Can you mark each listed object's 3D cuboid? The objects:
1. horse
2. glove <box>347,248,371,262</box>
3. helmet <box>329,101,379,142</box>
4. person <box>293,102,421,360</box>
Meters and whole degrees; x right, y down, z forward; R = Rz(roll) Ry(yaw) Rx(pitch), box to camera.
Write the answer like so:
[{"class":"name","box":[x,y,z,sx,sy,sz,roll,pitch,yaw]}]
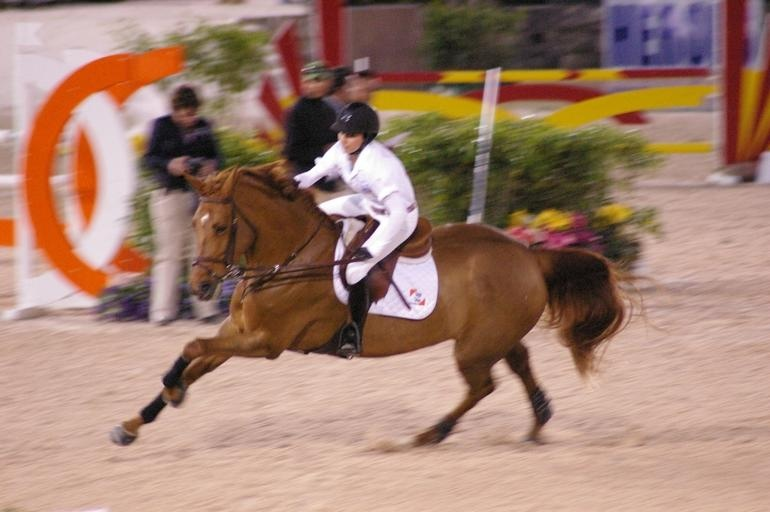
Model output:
[{"class":"horse","box":[-0.189,0.400,9.485,5.297,2.366,1.104,2,22,-36]},{"class":"glove","box":[-0.198,-0.028,8.701,0.150,0.121,0.043,8,51,-6]},{"class":"helmet","box":[-0.237,-1.091,8.651,0.405,0.279,0.264,-15,41,-28]},{"class":"person","box":[-0.247,-0.213,8.804,0.847,2.051,0.333,15,15,25]}]
